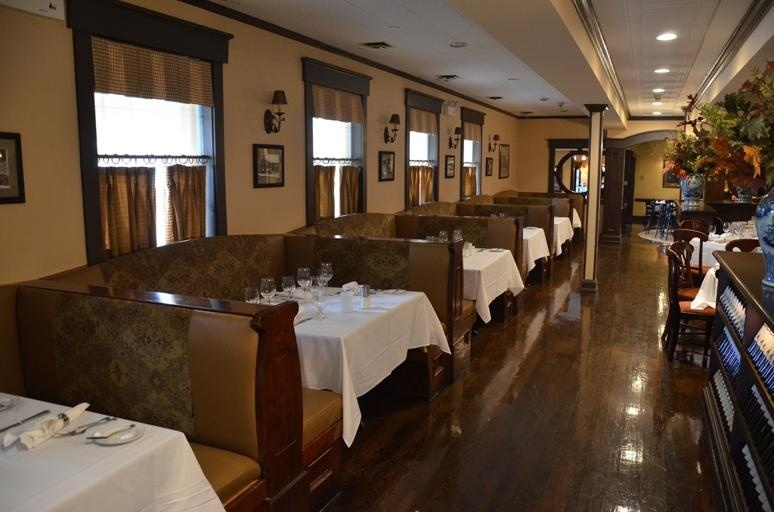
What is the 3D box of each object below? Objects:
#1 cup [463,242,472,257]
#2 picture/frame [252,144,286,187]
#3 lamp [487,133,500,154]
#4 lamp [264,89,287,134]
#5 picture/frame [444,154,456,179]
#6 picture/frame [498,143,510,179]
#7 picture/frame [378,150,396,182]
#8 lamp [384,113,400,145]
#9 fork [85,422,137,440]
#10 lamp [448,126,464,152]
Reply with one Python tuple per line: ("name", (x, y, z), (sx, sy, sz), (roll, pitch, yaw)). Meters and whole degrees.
("cup", (1.039, -0.060, 6.830), (0.122, 0.209, 0.194), (1, -1, 4))
("picture/frame", (-1.457, -1.105, 6.497), (0.030, 0.494, 0.477), (4, 13, 27))
("lamp", (2.818, -2.939, 13.992), (0.204, 0.477, 0.898), (4, 14, 18))
("lamp", (-1.302, -1.753, 6.527), (0.229, 0.507, 0.437), (5, 14, 21))
("picture/frame", (1.351, -1.925, 11.433), (0.051, 0.393, 0.518), (5, 12, 24))
("picture/frame", (3.271, -2.675, 14.896), (0.038, 0.920, 0.887), (5, 12, 28))
("picture/frame", (-0.012, -1.515, 8.937), (0.034, 0.558, 0.516), (2, 6, 31))
("lamp", (0.126, -2.147, 9.029), (0.225, 0.485, 0.521), (4, 14, 17))
("fork", (-1.477, 0.950, 2.858), (0.032, 0.035, 0.230), (5, 6, 17))
("lamp", (1.488, -2.530, 11.527), (0.167, 0.498, 0.685), (5, 14, 20))
